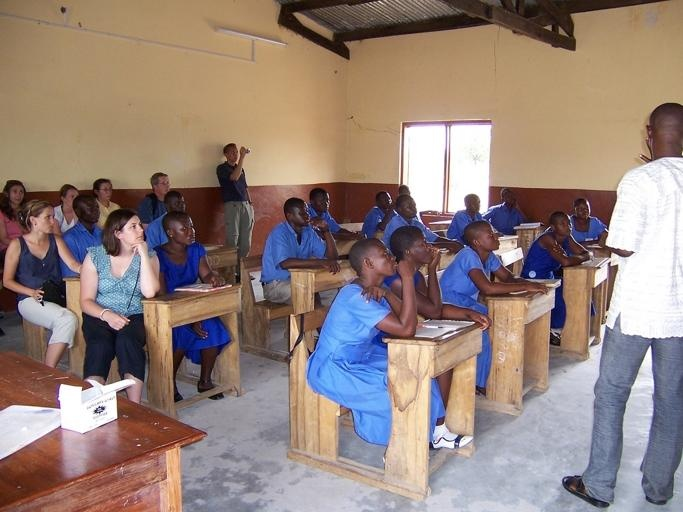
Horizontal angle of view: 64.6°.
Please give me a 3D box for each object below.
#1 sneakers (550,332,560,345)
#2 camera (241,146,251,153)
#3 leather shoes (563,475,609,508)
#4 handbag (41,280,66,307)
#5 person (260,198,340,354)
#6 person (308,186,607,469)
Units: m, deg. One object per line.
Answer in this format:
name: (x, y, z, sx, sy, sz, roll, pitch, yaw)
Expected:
sneakers: (1.890, 0.733, 4.773, 0.052, 0.059, 0.147, -1, 8, -4)
camera: (-1.346, -1.494, 7.582, 0.113, 0.042, 0.151, 17, 3, -25)
leather shoes: (1.179, 1.111, 2.607, 0.079, 0.068, 0.169, -9, 25, -43)
handbag: (-1.949, 0.248, 3.626, 0.166, 0.164, 0.065, 12, -14, -42)
person: (-0.352, 0.131, 4.621, 0.758, 1.270, 0.568, 7, 14, 34)
person: (0.574, 0.286, 3.282, 1.445, 1.727, 0.751, -2, 10, 10)
